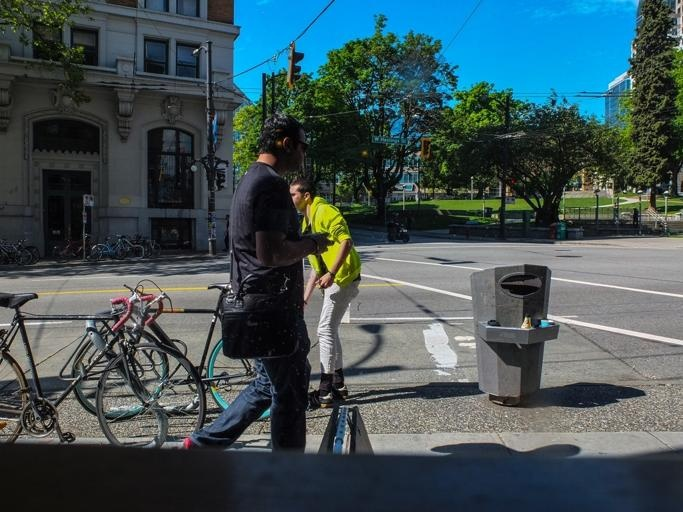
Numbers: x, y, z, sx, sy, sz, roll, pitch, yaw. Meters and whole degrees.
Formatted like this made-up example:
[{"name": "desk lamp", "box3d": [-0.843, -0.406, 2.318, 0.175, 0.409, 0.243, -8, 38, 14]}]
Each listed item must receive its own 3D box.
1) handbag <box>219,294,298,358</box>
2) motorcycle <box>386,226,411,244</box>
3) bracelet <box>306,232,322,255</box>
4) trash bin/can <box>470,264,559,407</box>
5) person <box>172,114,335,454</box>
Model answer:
[{"name": "handbag", "box3d": [-0.582, 0.527, 5.618, 0.630, 0.522, 0.431, -1, -9, -1]}, {"name": "motorcycle", "box3d": [2.521, -0.986, 34.020, 0.571, 0.606, 1.098, -1, -3, -27]}, {"name": "bracelet", "box3d": [-0.190, -0.097, 5.664, 0.100, 0.128, 0.131, -4, 13, -22]}, {"name": "trash bin/can", "box3d": [1.653, 0.753, 7.357, 0.827, 1.356, 0.434, 1, 7, 9]}, {"name": "person", "box3d": [-0.580, 0.236, 5.612, 0.740, 2.532, 0.646, 3, 7, 25]}]
